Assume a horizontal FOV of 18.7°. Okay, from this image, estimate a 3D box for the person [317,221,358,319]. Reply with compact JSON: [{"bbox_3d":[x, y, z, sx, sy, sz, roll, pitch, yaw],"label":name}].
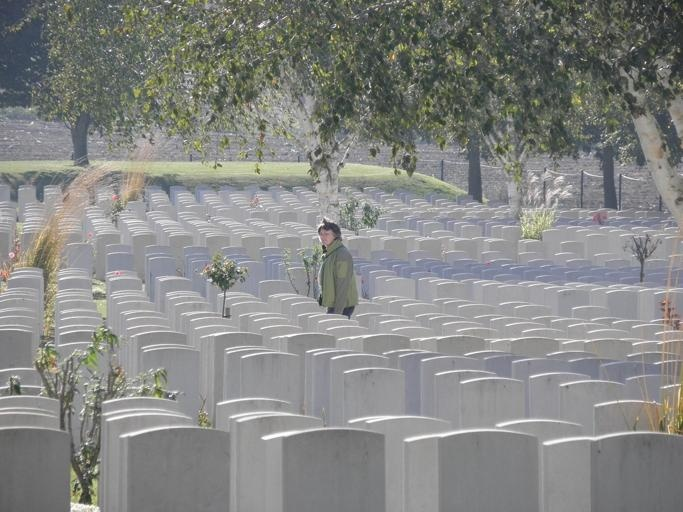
[{"bbox_3d":[-0.098,0.228,40.999,0.784,1.999,0.473,-3,2,0],"label":"person"}]
